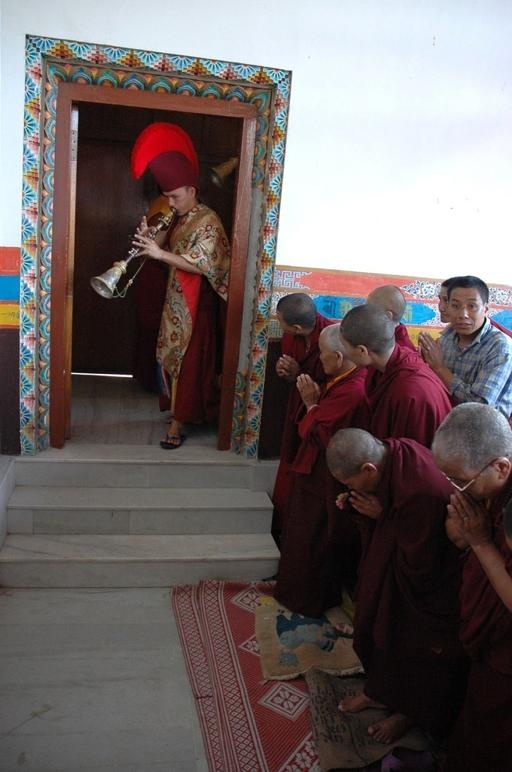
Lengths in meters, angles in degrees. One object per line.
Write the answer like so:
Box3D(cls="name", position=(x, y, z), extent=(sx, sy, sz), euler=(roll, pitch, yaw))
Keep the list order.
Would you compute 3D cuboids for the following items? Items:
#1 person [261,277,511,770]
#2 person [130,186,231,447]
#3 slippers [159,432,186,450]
Box3D(cls="person", position=(0.464, 0.530, 2.283), extent=(0.560, 0.587, 1.824), euler=(1, -28, 7))
Box3D(cls="person", position=(-0.453, -0.427, 3.863), extent=(0.538, 1.552, 0.722), euler=(3, 13, -3))
Box3D(cls="slippers", position=(-0.512, 0.336, 3.776), extent=(0.103, 0.060, 0.230), euler=(0, 1, 2))
